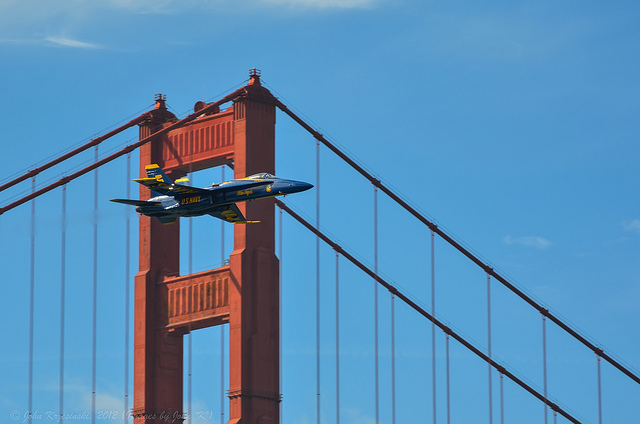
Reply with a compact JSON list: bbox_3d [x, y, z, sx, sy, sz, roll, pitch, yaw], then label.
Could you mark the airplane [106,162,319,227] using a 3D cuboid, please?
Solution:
[{"bbox_3d":[-6.830,-2.088,142.473,12.775,3.603,8.944,-8,-13,18],"label":"airplane"}]
